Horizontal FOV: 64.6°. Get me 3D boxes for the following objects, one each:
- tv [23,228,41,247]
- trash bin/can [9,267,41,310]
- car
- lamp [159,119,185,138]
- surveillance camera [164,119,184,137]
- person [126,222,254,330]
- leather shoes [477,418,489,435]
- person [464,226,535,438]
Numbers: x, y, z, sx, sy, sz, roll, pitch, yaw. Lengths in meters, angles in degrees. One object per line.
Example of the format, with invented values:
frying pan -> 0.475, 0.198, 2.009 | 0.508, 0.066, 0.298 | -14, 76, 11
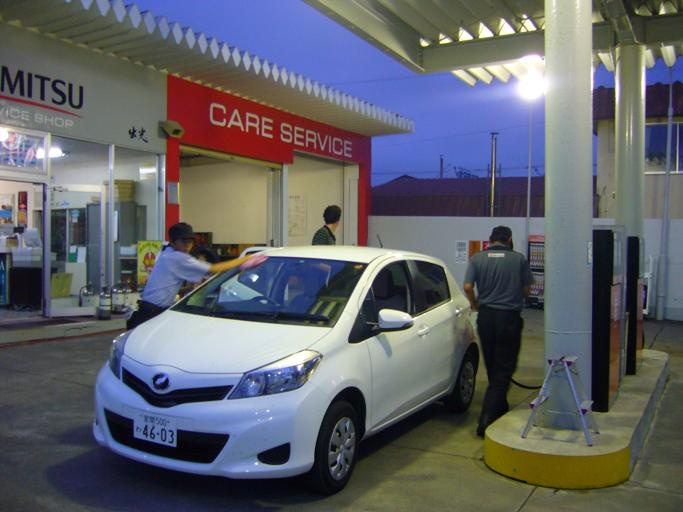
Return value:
tv -> -8.474, -0.521, 14.792 | 0.891, 0.487, 0.154 | 4, 3, 40
trash bin/can -> -7.321, 0.752, 12.590 | 0.858, 0.905, 0.465 | 2, 3, 35
car -> -0.329, 0.928, 5.228 | 3.549, 2.017, 1.775 | -1, 3, -43
lamp -> -4.170, -3.101, 13.297 | 0.474, 0.269, 0.365 | 30, 22, 37
surveillance camera -> -4.093, -3.120, 13.281 | 0.313, 0.385, 0.450 | -24, -20, 34
person -> -1.611, 0.319, 6.152 | 1.010, 1.330, 1.269 | 7, 5, 30
leather shoes -> 1.529, 1.861, 5.883 | 0.099, 0.160, 0.041 | 5, -5, 44
person -> 1.836, 0.821, 6.350 | 0.693, 2.299, 0.881 | 0, 0, 12
